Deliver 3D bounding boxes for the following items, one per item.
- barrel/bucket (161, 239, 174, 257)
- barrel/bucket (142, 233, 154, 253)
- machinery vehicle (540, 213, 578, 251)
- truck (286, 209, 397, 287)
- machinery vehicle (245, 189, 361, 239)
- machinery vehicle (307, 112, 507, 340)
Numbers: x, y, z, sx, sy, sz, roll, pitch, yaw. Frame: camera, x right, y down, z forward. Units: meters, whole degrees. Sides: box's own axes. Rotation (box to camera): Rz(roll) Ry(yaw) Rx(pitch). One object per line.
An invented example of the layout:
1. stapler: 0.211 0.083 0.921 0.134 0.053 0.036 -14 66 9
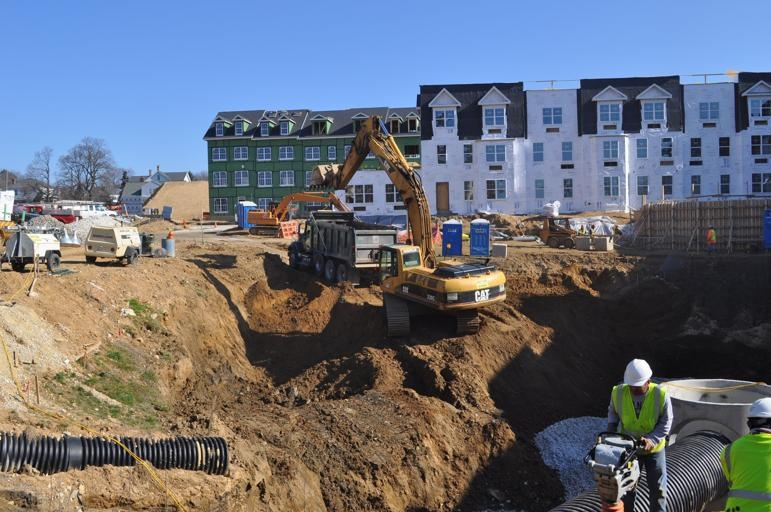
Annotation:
1. barrel/bucket: -9.416 -0.325 37.988 0.466 0.753 1.018 -1 4 -14
2. barrel/bucket: -10.082 -0.499 37.151 0.495 0.830 0.352 -1 3 -3
3. machinery vehicle: 10.049 -1.336 50.342 1.454 1.407 2.215 -1 4 -15
4. truck: -2.116 -0.487 39.831 2.703 2.775 6.686 0 6 -28
5. machinery vehicle: -5.162 -2.417 53.162 6.566 2.674 1.862 0 -10 22
6. machinery vehicle: 0.501 -1.437 36.059 3.975 8.149 11.496 -5 11 -32
